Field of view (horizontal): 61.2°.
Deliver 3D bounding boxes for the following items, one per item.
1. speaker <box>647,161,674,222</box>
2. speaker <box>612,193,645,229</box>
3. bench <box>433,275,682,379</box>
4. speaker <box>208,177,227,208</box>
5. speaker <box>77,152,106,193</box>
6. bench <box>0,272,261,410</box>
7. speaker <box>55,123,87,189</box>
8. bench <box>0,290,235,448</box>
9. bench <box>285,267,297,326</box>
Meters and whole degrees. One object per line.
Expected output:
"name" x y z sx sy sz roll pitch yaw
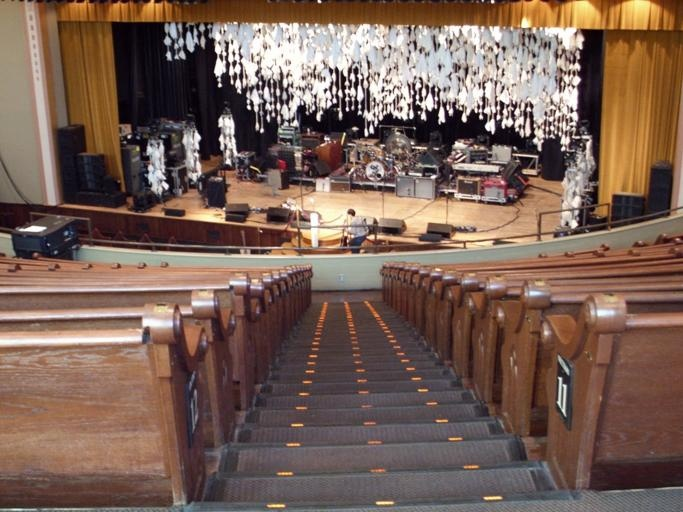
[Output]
"speaker" 6.116 -1.292 11.051 0.421 0.943 0.368 6 16 25
"speaker" 5.487 -0.878 10.997 0.374 0.804 0.414 -26 37 -37
"bench" 0.886 0.418 2.813 0.818 0.233 0.623 -6 22 6
"speaker" -3.178 -1.584 14.676 0.512 0.680 0.331 1 15 9
"speaker" -6.231 -2.056 14.369 0.622 1.150 0.544 7 20 10
"bench" -0.780 0.305 2.145 0.599 0.279 0.270 4 41 4
"speaker" -6.711 -2.429 14.274 0.520 1.723 1.016 2 21 -2
"bench" -0.722 0.396 1.920 0.551 0.390 0.262 2 30 3
"bench" -0.575 0.468 6.591 0.078 0.579 0.579 -1 10 5
